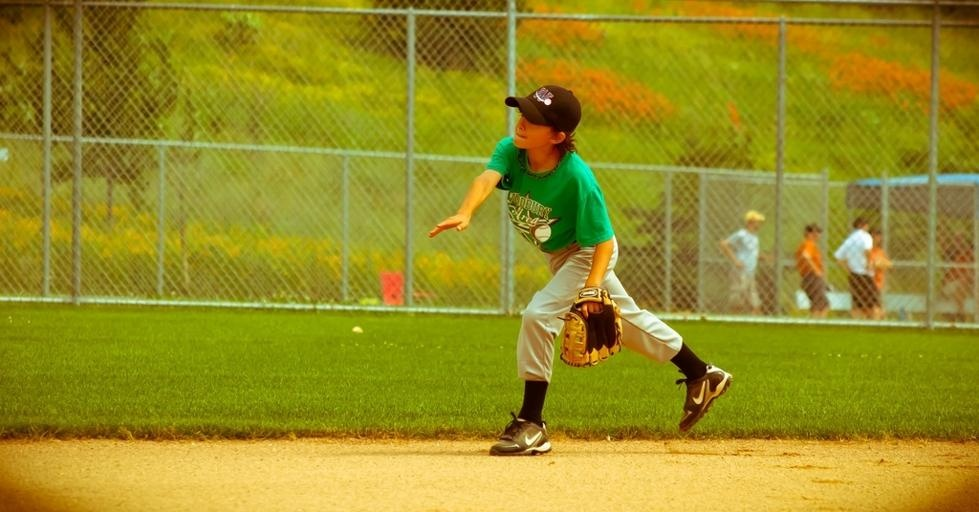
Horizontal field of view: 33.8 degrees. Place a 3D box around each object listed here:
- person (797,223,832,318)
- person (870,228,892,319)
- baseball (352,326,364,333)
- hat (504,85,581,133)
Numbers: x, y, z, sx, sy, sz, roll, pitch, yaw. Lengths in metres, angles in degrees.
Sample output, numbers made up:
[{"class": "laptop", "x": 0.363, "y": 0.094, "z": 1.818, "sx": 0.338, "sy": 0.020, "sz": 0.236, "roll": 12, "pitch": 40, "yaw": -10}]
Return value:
[{"class": "person", "x": 4.457, "y": 0.199, "z": 22.100, "sx": 0.516, "sy": 1.217, "sz": 0.453, "roll": 3, "pitch": 1, "yaw": 1}, {"class": "person", "x": 5.263, "y": 0.245, "z": 21.639, "sx": 0.288, "sy": 1.175, "sz": 0.482, "roll": 4, "pitch": 1, "yaw": 20}, {"class": "baseball", "x": -1.720, "y": 0.950, "z": 20.692, "sx": 0.094, "sy": 0.057, "sz": 0.095, "roll": -1, "pitch": -3, "yaw": 20}, {"class": "hat", "x": 0.590, "y": -1.597, "z": 17.460, "sx": 0.711, "sy": 0.377, "sz": 0.451, "roll": 23, "pitch": 11, "yaw": -24}]
